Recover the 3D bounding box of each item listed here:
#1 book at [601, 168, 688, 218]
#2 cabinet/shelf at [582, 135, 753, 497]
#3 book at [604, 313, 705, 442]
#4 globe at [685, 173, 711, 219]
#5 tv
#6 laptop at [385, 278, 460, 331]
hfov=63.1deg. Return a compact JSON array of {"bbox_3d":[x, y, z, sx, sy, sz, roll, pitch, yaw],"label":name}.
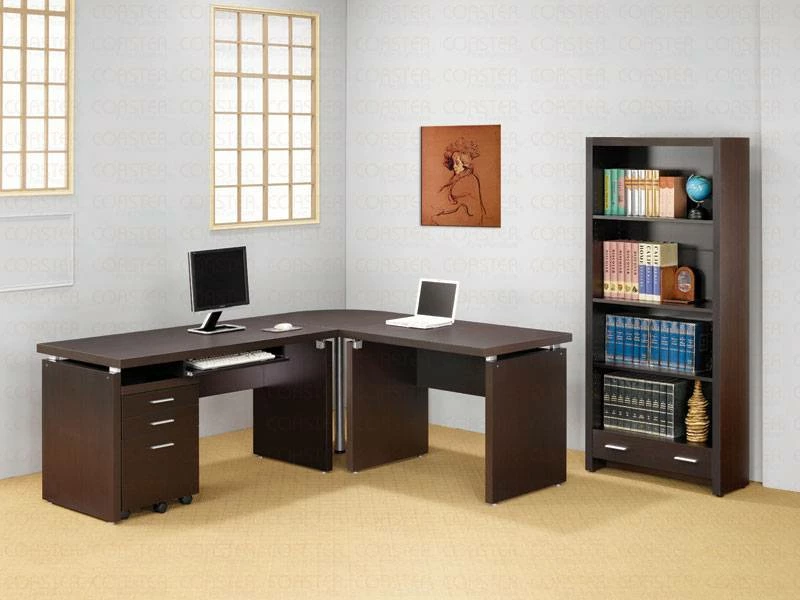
[{"bbox_3d":[1.700,-0.740,4.516,0.526,0.338,0.165,1,5,18],"label":"book"},{"bbox_3d":[1.876,0.062,4.573,1.078,2.384,0.488,3,6,35],"label":"cabinet/shelf"},{"bbox_3d":[1.810,0.557,4.549,0.841,0.913,0.319,4,5,43],"label":"book"},{"bbox_3d":[2.031,-0.704,4.413,0.157,0.321,0.243,1,5,16],"label":"globe"},{"bbox_3d":[-1.327,-0.071,4.715,0.260,0.762,0.646,-2,1,42],"label":"tv"},{"bbox_3d":[0.170,0.027,4.677,0.380,0.296,0.401,5,9,44],"label":"laptop"}]
